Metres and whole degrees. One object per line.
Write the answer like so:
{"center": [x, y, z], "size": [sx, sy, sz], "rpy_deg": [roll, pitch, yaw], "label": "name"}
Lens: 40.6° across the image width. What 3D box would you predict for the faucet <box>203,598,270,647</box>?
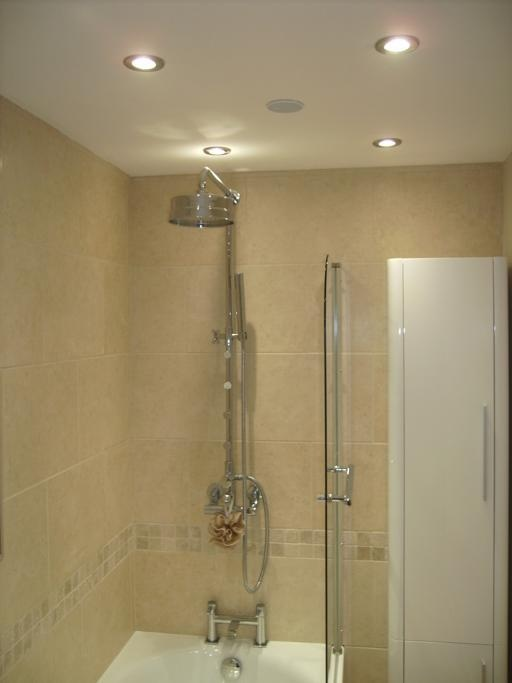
{"center": [-0.062, 0.828, 1.991], "size": [0.184, 0.123, 0.103], "rpy_deg": [0, 2, 9], "label": "faucet"}
